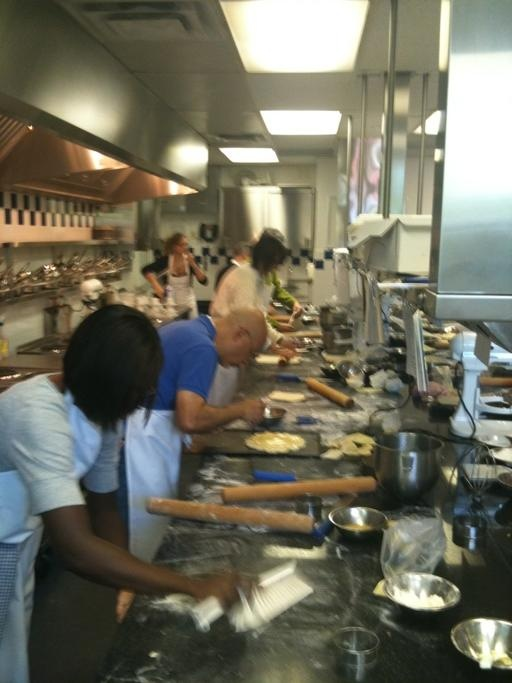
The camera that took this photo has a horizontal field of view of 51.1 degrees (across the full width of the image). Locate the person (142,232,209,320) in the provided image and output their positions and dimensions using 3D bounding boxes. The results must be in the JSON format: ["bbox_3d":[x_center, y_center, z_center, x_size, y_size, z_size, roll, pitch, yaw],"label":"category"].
[{"bbox_3d":[-0.869,-0.530,5.729,0.628,1.272,0.370,-8,38,-14],"label":"person"}]

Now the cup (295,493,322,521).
[{"bbox_3d":[0.124,0.396,1.277,0.049,0.044,0.048,1,9,0],"label":"cup"}]

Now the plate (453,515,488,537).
[{"bbox_3d":[0.466,0.403,1.165,0.050,0.029,0.048,-1,-1,-5],"label":"plate"}]

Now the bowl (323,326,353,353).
[{"bbox_3d":[0.575,-0.002,3.748,0.169,0.153,0.230,0,1,-4],"label":"bowl"}]

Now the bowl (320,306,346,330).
[{"bbox_3d":[0.587,-0.178,4.082,0.194,0.172,0.439,-3,7,5],"label":"bowl"}]

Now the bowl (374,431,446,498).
[{"bbox_3d":[0.406,0.338,1.416,0.172,0.129,0.165,-4,5,0],"label":"bowl"}]
